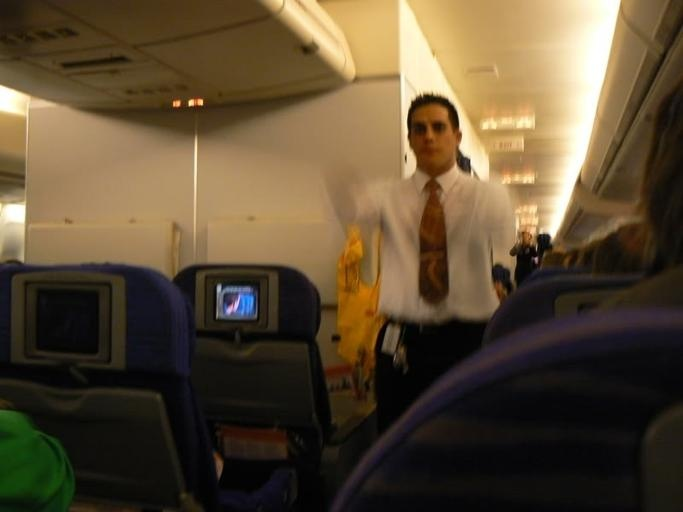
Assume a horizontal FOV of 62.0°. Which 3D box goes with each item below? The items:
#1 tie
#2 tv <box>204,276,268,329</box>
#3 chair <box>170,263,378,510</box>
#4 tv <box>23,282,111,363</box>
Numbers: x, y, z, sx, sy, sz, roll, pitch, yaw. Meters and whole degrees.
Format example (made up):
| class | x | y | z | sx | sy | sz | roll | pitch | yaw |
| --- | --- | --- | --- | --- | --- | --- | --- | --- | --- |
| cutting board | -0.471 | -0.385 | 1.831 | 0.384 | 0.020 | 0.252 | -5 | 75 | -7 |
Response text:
| class | x | y | z | sx | sy | sz | roll | pitch | yaw |
| --- | --- | --- | --- | --- | --- | --- | --- | --- | --- |
| tie | 0.314 | -0.057 | 1.941 | 0.097 | 0.415 | 0.149 | -1 | 3 | 8 |
| tv | -0.363 | 0.145 | 2.056 | 0.284 | 0.228 | 0.156 | 0 | -1 | 23 |
| chair | -0.252 | 0.430 | 2.366 | 0.675 | 1.044 | 0.859 | 1 | 1 | 8 |
| tv | -0.611 | 0.145 | 1.269 | 0.239 | 0.177 | 0.037 | 0 | 4 | 18 |
